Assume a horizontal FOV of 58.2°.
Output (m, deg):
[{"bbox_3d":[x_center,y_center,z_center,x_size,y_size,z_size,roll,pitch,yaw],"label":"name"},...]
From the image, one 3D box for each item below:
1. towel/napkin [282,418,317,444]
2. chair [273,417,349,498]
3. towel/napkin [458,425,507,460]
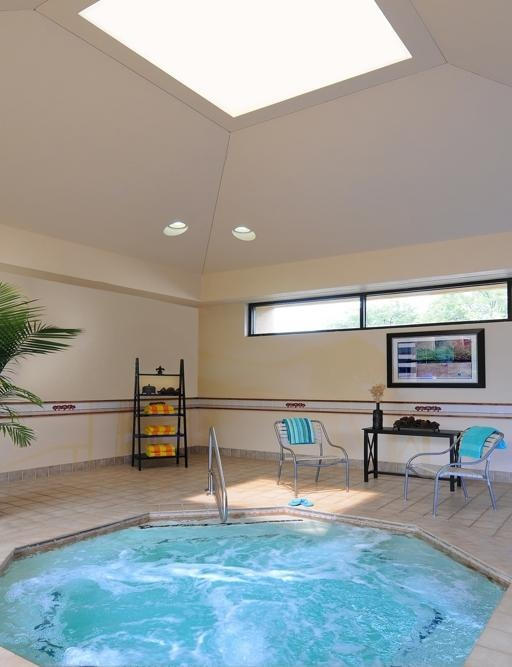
[{"bbox_3d":[0.524,1.204,5.637,0.432,0.298,0.268,6,-9,-43],"label":"towel/napkin"},{"bbox_3d":[0.624,1.416,5.361,0.831,0.780,0.871,-5,-10,34],"label":"chair"},{"bbox_3d":[2.154,1.017,4.412,0.456,0.279,0.423,-1,-4,-33],"label":"towel/napkin"}]
